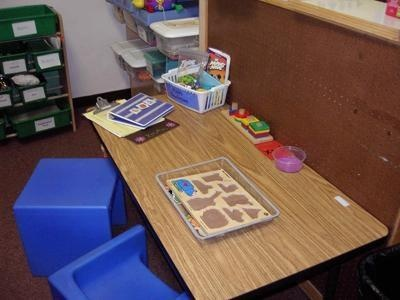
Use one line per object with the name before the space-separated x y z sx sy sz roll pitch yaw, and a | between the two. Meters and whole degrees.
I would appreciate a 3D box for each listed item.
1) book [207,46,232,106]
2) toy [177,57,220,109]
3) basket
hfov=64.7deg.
book | 0.110 -0.421 1.790 0.029 0.217 0.290 -5 27 -34
toy | -0.023 -0.398 1.851 0.175 0.088 0.264 -12 47 -12
basket | -0.023 -0.318 1.847 0.254 0.149 0.344 -29 52 -27
